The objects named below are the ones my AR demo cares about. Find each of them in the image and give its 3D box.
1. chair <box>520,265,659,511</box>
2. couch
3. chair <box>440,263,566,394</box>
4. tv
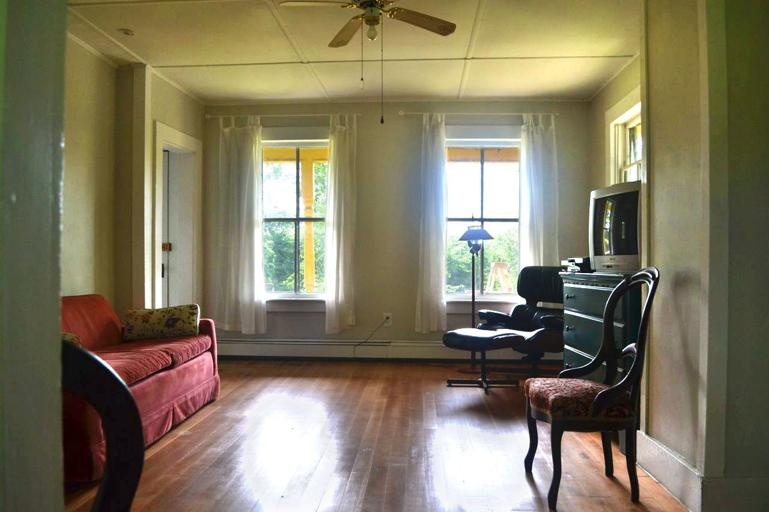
[{"bbox_3d":[1.246,0.709,3.542,0.773,1.318,0.758,0,5,3],"label":"chair"},{"bbox_3d":[-1.469,0.836,3.562,0.667,0.666,1.247,0,2,0],"label":"couch"},{"bbox_3d":[1.219,0.612,5.407,1.240,1.115,0.988,1,-3,-45],"label":"chair"},{"bbox_3d":[1.593,-0.201,4.056,0.116,0.619,0.509,-2,5,-12],"label":"tv"}]
